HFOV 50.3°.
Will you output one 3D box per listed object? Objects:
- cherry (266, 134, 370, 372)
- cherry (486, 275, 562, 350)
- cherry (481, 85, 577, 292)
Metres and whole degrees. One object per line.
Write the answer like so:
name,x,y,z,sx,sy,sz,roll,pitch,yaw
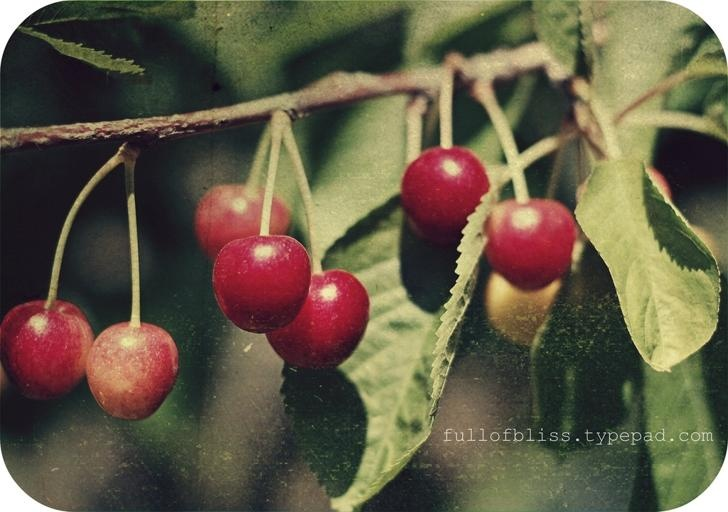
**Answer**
cherry,-0.059,-0.016,1.395,0.192,0.373,0.238,-8,19,-17
cherry,0.312,0.102,1.492,0.079,0.155,0.110,-21,28,-29
cherry,0.307,-0.152,1.502,0.194,0.407,0.178,-6,3,35
